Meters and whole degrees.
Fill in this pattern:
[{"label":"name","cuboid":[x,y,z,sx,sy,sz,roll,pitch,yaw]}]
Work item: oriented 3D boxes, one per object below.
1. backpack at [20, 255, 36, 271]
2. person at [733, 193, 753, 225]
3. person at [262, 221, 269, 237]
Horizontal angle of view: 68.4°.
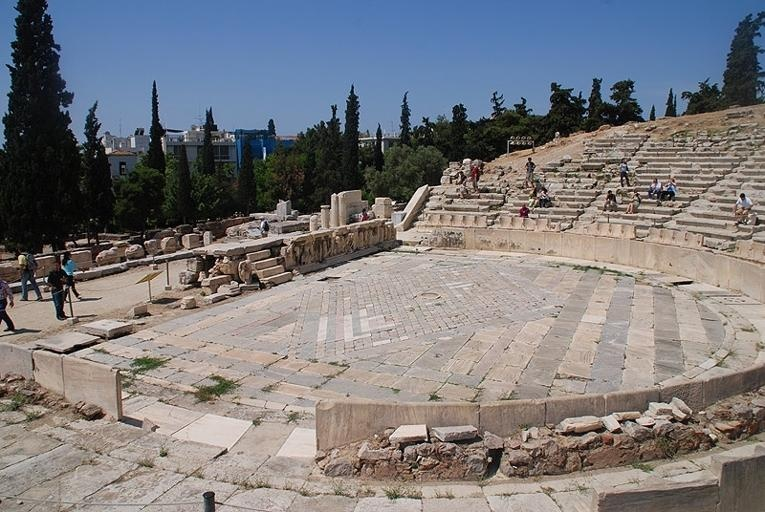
[{"label":"backpack","cuboid":[-11.438,0.198,18.188,0.477,0.476,0.418,-8,15,-7]},{"label":"person","cuboid":[13.530,-1.793,21.192,0.574,1.105,0.830,3,9,34]},{"label":"person","cuboid":[-6.295,-1.485,30.060,0.277,0.731,0.915,-5,8,-21]}]
